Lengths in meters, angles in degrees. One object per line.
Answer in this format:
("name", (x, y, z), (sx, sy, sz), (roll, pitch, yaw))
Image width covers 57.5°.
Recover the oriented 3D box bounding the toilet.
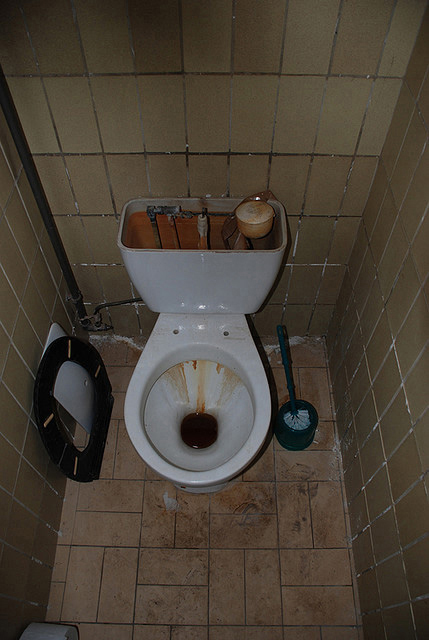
("toilet", (-0.036, 0.137, 1.130), (0.368, 0.692, 0.716), (0, 55, -3))
